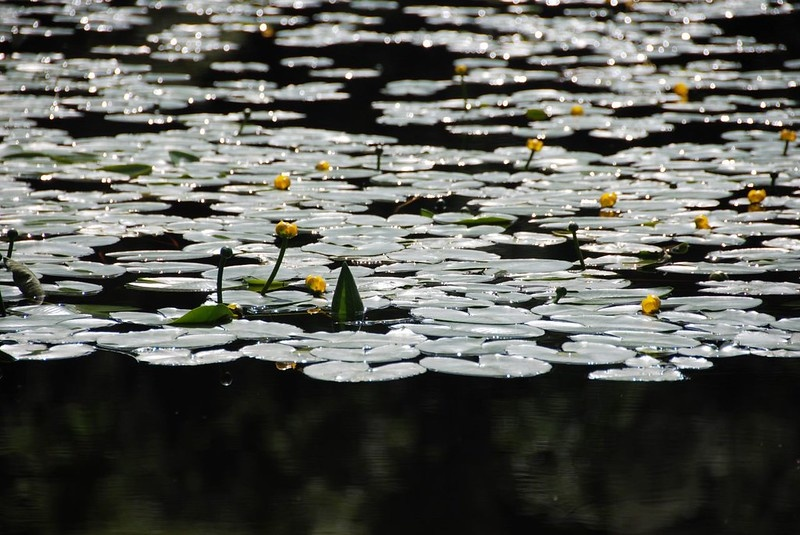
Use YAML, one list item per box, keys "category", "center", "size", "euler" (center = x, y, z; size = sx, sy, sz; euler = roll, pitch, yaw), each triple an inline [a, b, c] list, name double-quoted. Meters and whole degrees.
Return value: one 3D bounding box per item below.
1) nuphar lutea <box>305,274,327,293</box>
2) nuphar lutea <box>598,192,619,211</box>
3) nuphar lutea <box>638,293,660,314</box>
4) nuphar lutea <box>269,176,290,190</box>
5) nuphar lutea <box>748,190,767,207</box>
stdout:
- category: "nuphar lutea"
  center: [-0.323, 0.065, 4.298]
  size: [0.078, 0.044, 0.084]
  euler: [6, 3, -23]
- category: "nuphar lutea"
  center: [0.959, -0.308, 5.217]
  size: [0.110, 0.058, 0.115]
  euler: [-2, 22, 15]
- category: "nuphar lutea"
  center: [0.939, 0.132, 4.213]
  size: [0.081, 0.061, 0.046]
  euler: [17, 2, 38]
- category: "nuphar lutea"
  center: [-0.621, -0.432, 5.765]
  size: [0.089, 0.080, 0.074]
  euler: [20, 52, 24]
- category: "nuphar lutea"
  center: [1.719, -0.338, 5.424]
  size: [0.099, 0.060, 0.113]
  euler: [13, 24, 41]
